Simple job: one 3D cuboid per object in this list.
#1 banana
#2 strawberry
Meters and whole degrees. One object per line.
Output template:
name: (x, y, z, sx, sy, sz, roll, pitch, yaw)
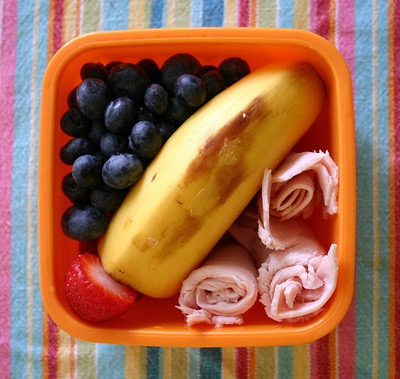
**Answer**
banana: (0.012, -0.014, 1.097, 0.231, 0.183, 0.549, 41, 88, -4)
strawberry: (-0.185, 0.182, 1.033, 0.113, 0.066, 0.125, 8, 77, -23)
